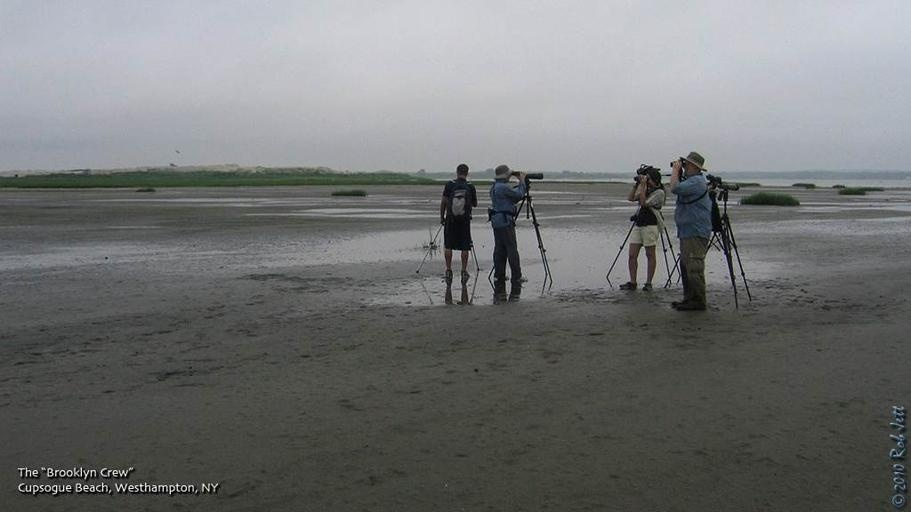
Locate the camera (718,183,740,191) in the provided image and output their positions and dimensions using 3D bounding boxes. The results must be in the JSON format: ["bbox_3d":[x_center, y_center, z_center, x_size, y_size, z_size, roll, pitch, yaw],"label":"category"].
[{"bbox_3d":[6.175,-1.569,13.676,0.382,0.210,0.738,5,16,22],"label":"camera"}]

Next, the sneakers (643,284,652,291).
[{"bbox_3d":[4.817,0.769,15.184,0.232,0.157,0.330,4,16,17],"label":"sneakers"}]
